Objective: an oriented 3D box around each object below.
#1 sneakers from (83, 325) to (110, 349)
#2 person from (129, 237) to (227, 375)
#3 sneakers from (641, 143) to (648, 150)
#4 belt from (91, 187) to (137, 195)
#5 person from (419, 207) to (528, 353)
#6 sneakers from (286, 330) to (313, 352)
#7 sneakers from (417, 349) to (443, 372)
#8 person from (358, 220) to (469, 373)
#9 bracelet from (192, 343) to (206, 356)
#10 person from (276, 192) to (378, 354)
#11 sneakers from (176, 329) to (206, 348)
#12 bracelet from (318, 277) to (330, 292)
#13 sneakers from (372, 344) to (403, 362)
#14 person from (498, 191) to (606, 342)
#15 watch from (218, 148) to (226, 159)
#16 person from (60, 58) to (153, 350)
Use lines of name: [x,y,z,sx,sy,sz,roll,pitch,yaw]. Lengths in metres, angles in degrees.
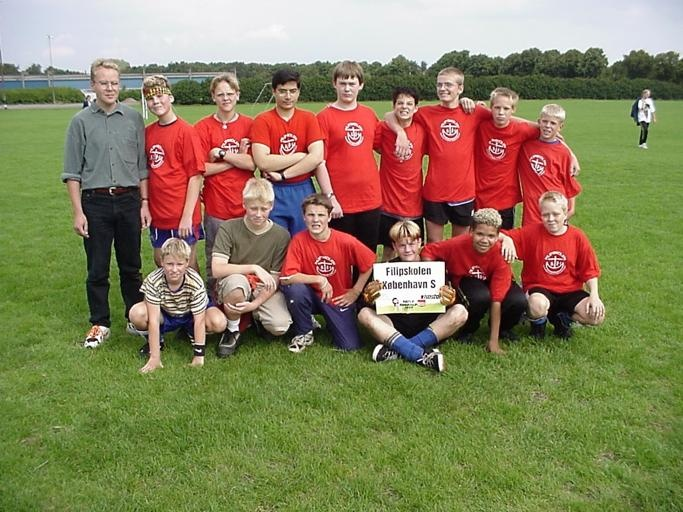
sneakers: [-2.771,0.904,6.509,0.132,0.153,0.345,5,1,-3]
person: [-1.752,0.456,6.139,0.989,1.305,0.662,-6,15,-20]
sneakers: [11.188,-4.028,21.371,0.215,0.273,0.664,6,15,27]
belt: [-2.604,-0.742,6.611,0.510,0.093,0.085,-8,15,-23]
person: [1.559,0.176,6.611,1.138,1.479,0.844,10,17,39]
sneakers: [-0.466,0.957,6.507,0.125,0.144,0.356,5,9,28]
sneakers: [0.936,1.073,5.962,0.140,0.123,0.344,0,5,-10]
person: [0.758,0.366,6.333,1.043,1.503,1.462,-8,18,20]
bracelet: [-1.530,1.006,6.200,0.117,0.114,0.128,2,-10,5]
person: [-0.112,0.204,6.504,1.194,1.612,1.006,-5,19,-25]
sneakers: [-1.700,0.903,6.456,0.186,0.250,0.593,-9,-6,-29]
bracelet: [-0.197,0.308,6.415,0.077,0.150,0.107,-1,-28,-25]
sneakers: [0.504,1.048,6.244,0.344,0.148,0.127,-3,-8,-1]
person: [2.305,0.144,6.655,1.326,1.613,0.888,7,16,30]
watch: [-1.393,-1.187,6.724,0.070,0.103,0.106,7,3,34]
person: [-2.660,-0.640,6.651,0.937,3.059,0.688,-8,15,-26]
